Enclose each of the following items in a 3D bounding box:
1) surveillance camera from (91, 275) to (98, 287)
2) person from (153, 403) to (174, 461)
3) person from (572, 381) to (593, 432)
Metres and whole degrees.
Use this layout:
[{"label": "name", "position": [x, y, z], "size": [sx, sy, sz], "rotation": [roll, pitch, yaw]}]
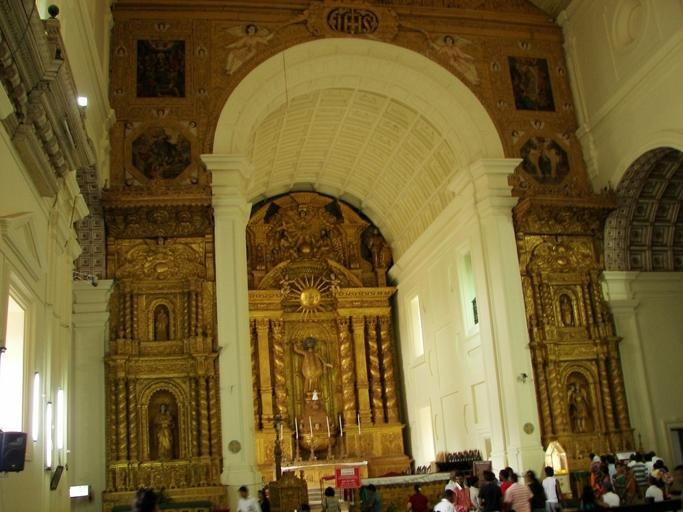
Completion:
[{"label": "surveillance camera", "position": [-6.261, 0.646, 16.906], "size": [0.149, 0.355, 0.285], "rotation": [1, -20, -19]}, {"label": "person", "position": [-4.401, 4.366, 16.502], "size": [0.469, 1.370, 0.334], "rotation": [0, -20, -14]}, {"label": "person", "position": [6.397, 3.995, 17.753], "size": [0.541, 1.378, 0.175], "rotation": [3, -21, -23]}]
